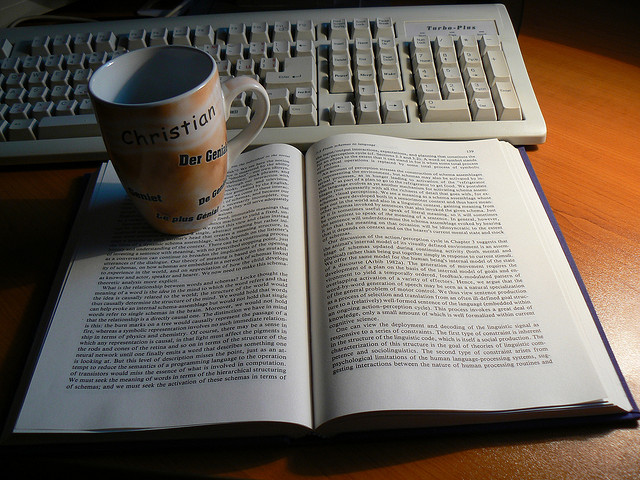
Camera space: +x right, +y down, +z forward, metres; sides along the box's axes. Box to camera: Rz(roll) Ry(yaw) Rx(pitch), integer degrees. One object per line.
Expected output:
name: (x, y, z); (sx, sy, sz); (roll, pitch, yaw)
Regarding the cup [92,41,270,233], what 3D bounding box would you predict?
cup: (-0.135, -0.107, 0.594); (0.190, 0.168, 0.121); (-16, 44, -19)
